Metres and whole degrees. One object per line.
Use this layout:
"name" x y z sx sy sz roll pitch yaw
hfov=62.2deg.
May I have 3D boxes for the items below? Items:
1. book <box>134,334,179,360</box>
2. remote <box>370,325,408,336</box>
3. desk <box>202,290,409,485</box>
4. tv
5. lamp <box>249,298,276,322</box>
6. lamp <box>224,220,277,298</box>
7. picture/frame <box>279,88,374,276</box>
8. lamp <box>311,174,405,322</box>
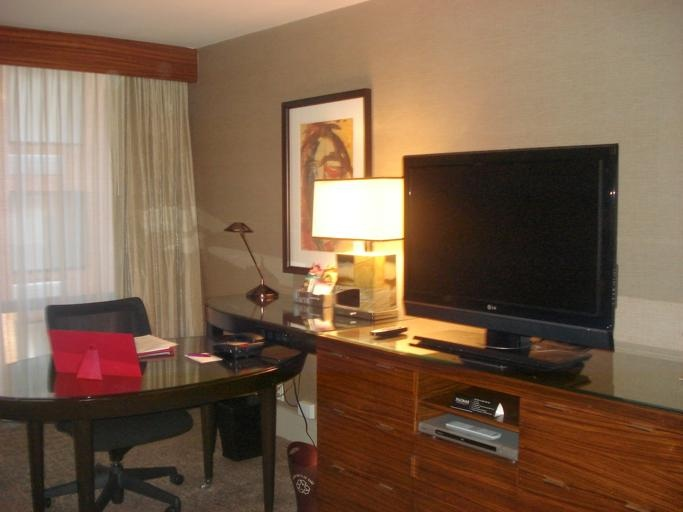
"book" -1.006 0.491 3.017 0.154 0.033 0.152 -4 9 -44
"remote" 0.231 0.367 2.786 0.135 0.020 0.062 -4 7 -23
"desk" -0.369 0.704 3.296 0.444 0.367 1.131 -5 10 -34
"tv" 0.745 0.025 2.428 0.376 0.891 1.130 -2 3 -43
"lamp" -0.528 0.335 3.722 0.114 0.104 0.115 0 1 -41
"lamp" -0.647 0.018 4.069 0.331 0.515 0.931 -2 6 -11
"picture/frame" -0.114 -0.508 3.847 0.035 1.062 0.864 -10 12 -40
"lamp" 0.174 -0.061 3.370 0.524 0.786 0.487 5 8 45
